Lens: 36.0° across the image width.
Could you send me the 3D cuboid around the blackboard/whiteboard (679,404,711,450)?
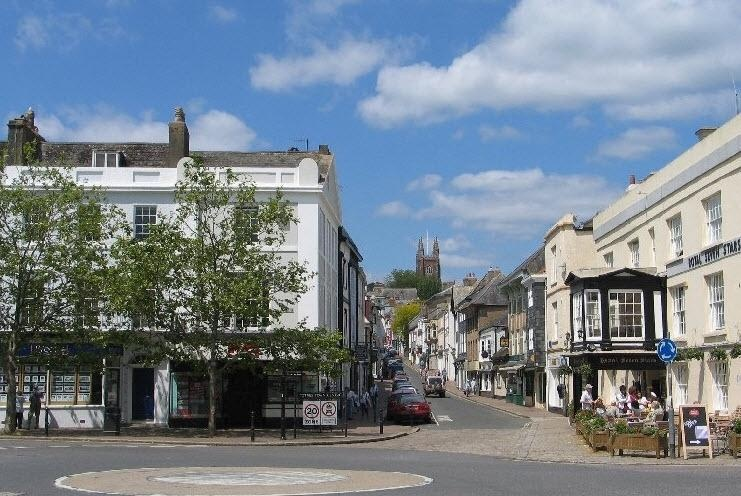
[{"bbox_3d":[13.058,7.078,45.545,1.393,2.329,1.392,-1,2,6],"label":"blackboard/whiteboard"}]
